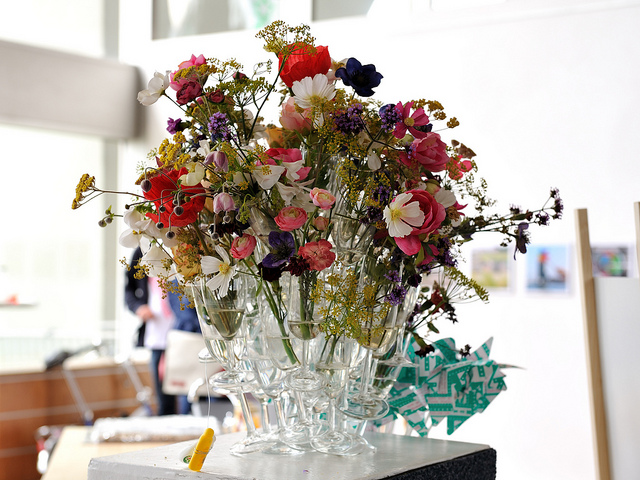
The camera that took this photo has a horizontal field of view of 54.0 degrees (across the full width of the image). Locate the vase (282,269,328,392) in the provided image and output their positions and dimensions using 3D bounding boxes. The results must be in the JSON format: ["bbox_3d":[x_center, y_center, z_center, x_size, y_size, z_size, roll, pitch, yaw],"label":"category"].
[{"bbox_3d":[-0.036,0.206,1.403,0.105,0.271,0.115,-2,-3,0],"label":"vase"}]

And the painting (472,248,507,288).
[{"bbox_3d":[1.033,0.163,3.783,0.218,0.245,0.023,0,-2,34],"label":"painting"}]

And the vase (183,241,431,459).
[{"bbox_3d":[-0.015,0.305,1.538,0.442,0.394,0.499,2,-12,13],"label":"vase"}]

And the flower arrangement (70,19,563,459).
[{"bbox_3d":[-0.127,0.003,1.750,1.003,1.061,1.044,2,-6,-19],"label":"flower arrangement"}]
